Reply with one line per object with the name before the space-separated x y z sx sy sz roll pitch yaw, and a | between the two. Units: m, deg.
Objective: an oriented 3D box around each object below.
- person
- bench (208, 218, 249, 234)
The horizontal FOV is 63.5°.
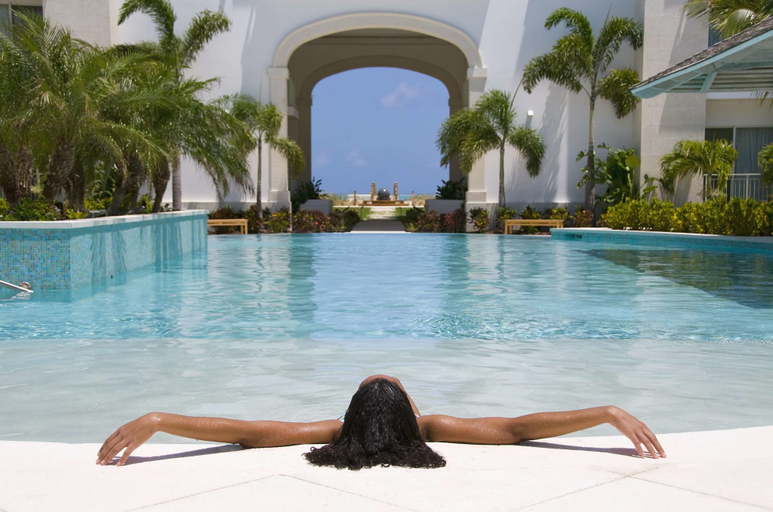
person | -0.049 1.031 3.945 3.416 0.475 0.561 0 5 -1
bench | -5.755 -1.075 22.693 1.364 0.527 1.371 0 5 -11
